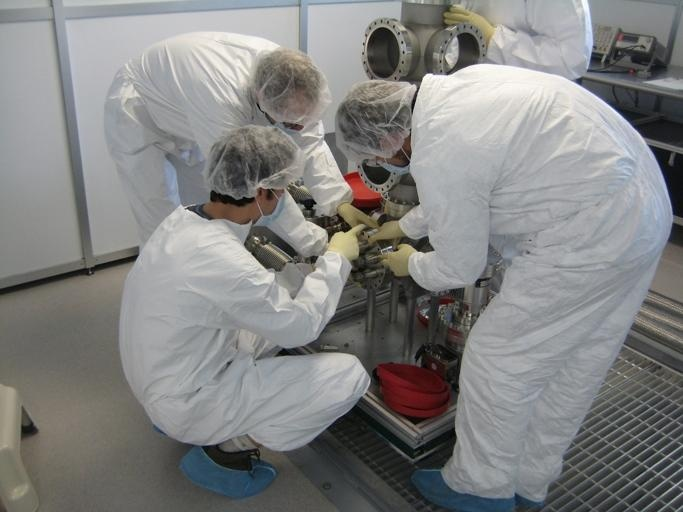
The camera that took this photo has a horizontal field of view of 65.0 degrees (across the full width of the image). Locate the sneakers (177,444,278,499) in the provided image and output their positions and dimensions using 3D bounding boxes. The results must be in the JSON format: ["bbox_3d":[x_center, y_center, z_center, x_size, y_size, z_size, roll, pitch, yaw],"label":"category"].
[{"bbox_3d":[-0.435,0.817,2.083,0.263,0.101,0.208,12,17,13],"label":"sneakers"}]

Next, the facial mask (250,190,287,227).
[{"bbox_3d":[-0.273,-0.176,2.023,0.048,0.130,0.116,-15,9,31],"label":"facial mask"}]

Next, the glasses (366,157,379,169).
[{"bbox_3d":[0.122,-0.378,2.145,0.032,0.040,0.034,12,70,-5],"label":"glasses"}]
